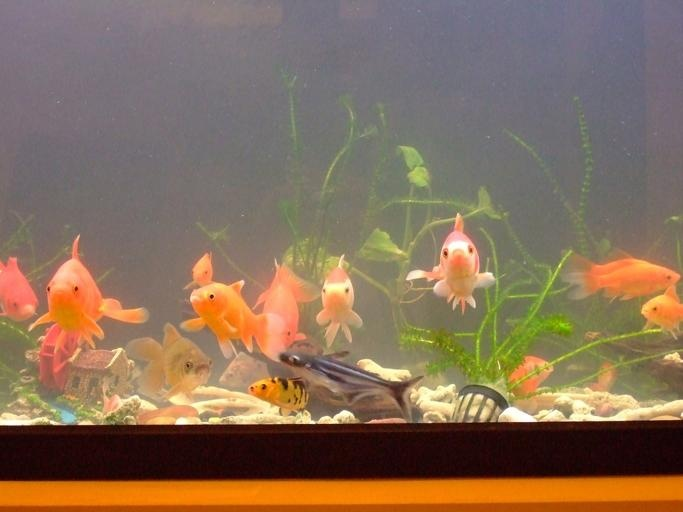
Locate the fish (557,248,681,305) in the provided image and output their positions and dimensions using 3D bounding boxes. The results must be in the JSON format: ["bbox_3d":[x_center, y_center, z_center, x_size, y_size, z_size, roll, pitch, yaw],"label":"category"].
[{"bbox_3d":[1.420,0.114,3.692,0.556,0.221,0.145,4,15,13],"label":"fish"}]

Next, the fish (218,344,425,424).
[{"bbox_3d":[-0.110,0.573,3.456,1.014,0.496,0.301,12,0,4],"label":"fish"}]

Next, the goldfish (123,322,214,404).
[{"bbox_3d":[-0.800,0.496,3.343,0.387,0.345,0.103,0,14,1],"label":"goldfish"}]
